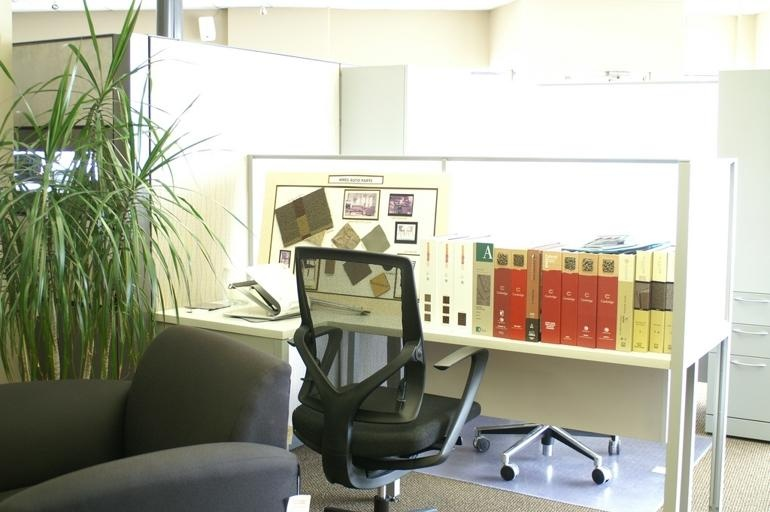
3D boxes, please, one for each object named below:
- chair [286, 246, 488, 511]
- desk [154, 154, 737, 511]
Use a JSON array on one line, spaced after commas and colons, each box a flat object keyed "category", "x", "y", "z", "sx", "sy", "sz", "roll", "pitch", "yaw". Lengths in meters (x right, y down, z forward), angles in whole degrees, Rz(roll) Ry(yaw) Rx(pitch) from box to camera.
[{"category": "chair", "x": 0.016, "y": 0.543, "z": 2.830, "sx": 0.875, "sy": 1.151, "sz": 0.448, "roll": 0, "pitch": 12, "yaw": -9}, {"category": "desk", "x": 0.251, "y": 0.432, "z": 3.188, "sx": 2.063, "sy": 1.310, "sz": 1.071, "roll": 0, "pitch": -5, "yaw": 34}]
